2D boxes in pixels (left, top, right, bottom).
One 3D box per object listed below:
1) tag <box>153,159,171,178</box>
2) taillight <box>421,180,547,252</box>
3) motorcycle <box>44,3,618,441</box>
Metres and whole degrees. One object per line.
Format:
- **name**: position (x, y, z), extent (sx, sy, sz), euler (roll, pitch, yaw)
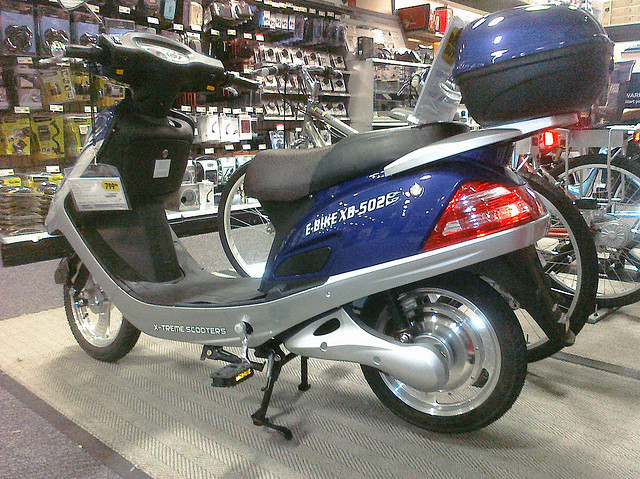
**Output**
- **tag**: position (-0.752, -0.346, 2.277), extent (0.009, 0.089, 0.087), euler (24, 17, 33)
- **taillight**: position (0.545, -0.099, 1.615), extent (0.336, 0.124, 0.233), euler (-19, 12, 22)
- **motorcycle**: position (-0.294, -0.191, 2.724), extent (3.143, 1.907, 1.366), euler (8, 8, 29)
